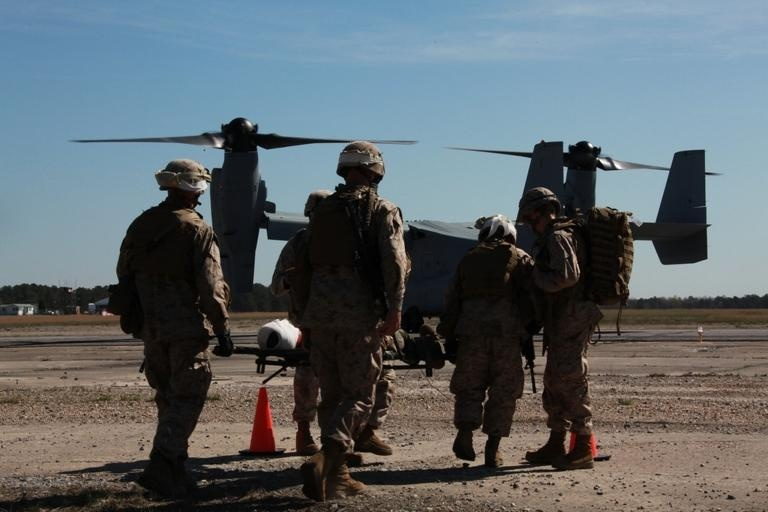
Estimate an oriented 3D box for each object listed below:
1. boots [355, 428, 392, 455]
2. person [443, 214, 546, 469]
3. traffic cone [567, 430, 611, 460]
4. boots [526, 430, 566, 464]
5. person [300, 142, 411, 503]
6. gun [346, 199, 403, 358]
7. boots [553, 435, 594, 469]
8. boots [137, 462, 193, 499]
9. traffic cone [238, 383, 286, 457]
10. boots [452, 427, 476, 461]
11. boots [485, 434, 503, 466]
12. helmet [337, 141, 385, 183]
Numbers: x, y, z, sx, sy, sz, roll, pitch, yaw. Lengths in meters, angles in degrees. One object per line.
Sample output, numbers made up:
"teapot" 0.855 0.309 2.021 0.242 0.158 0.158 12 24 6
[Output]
"boots" -0.189 2.418 13.012 0.686 0.389 0.231 4 -6 -13
"person" 1.319 1.238 12.845 1.244 2.794 1.043 0 6 4
"traffic cone" 2.624 2.474 13.082 0.422 0.424 0.404 -3 -10 -7
"boots" 2.014 2.489 12.917 0.630 0.531 0.283 5 -6 0
"person" -0.449 0.715 11.859 1.534 4.116 1.161 -3 6 -27
"gun" -0.085 0.091 11.874 0.640 1.638 0.583 -9 -4 16
"boots" 2.367 2.459 12.684 0.486 0.432 0.275 1 6 11
"boots" -2.557 2.580 11.800 0.672 0.406 0.595 0 0 -12
"traffic cone" -1.612 2.190 13.384 0.517 0.889 0.510 0 -1 5
"boots" 0.984 2.346 12.540 0.260 0.368 0.189 0 6 4
"boots" 1.380 2.452 12.730 0.234 0.399 0.251 0 5 3
"helmet" -0.284 -1.179 12.346 0.518 0.474 0.613 1 -8 32
